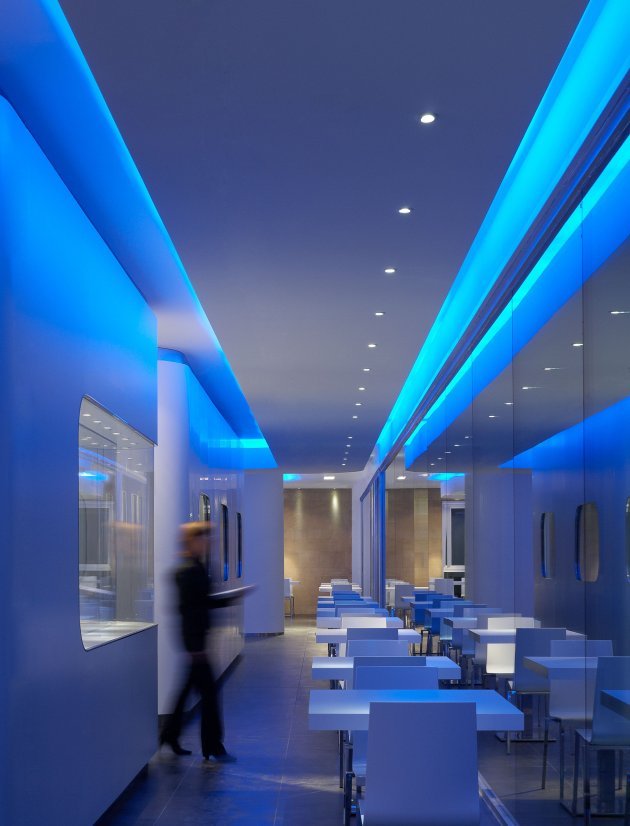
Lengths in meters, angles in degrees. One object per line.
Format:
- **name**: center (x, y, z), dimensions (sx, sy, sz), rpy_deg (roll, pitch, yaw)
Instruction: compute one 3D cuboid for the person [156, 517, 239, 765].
- **person**: center (-1.023, 1.883, 5.545), dimensions (0.509, 1.786, 2.204), rpy_deg (2, -12, -13)
